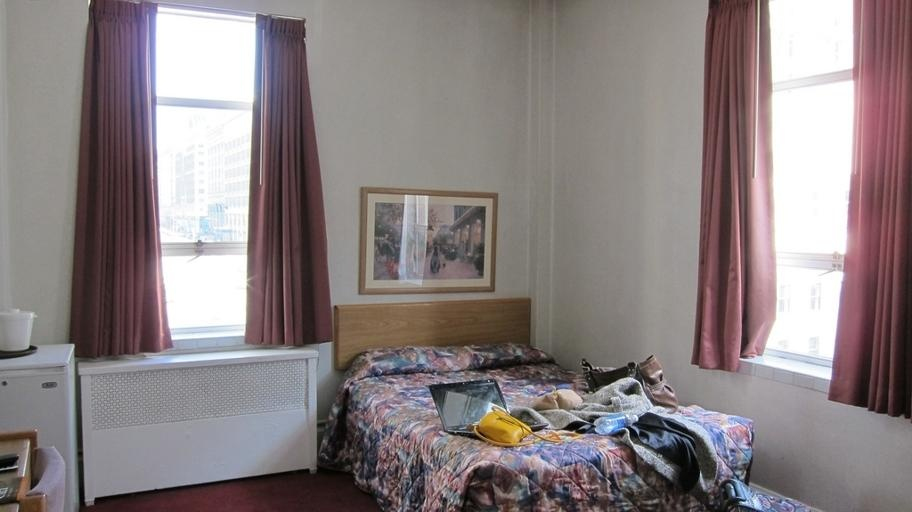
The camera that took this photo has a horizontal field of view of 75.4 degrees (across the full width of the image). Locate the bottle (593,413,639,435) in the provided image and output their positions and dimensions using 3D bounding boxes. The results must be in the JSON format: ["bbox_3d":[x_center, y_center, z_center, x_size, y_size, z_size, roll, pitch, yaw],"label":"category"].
[{"bbox_3d":[1.191,1.238,4.359,0.352,0.124,0.118,-2,5,-15],"label":"bottle"}]

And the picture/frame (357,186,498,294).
[{"bbox_3d":[-0.354,-0.176,5.970,1.198,0.833,0.046,1,1,-19],"label":"picture/frame"}]

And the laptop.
[{"bbox_3d":[0.088,1.154,4.625,0.498,0.286,0.480,-5,-3,-34],"label":"laptop"}]
